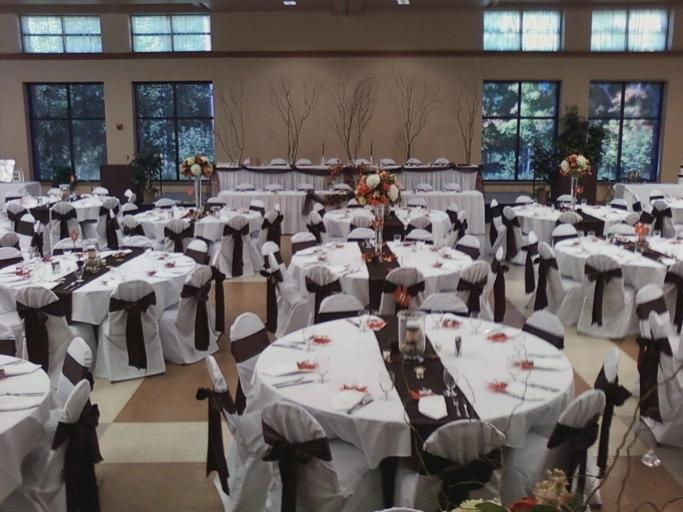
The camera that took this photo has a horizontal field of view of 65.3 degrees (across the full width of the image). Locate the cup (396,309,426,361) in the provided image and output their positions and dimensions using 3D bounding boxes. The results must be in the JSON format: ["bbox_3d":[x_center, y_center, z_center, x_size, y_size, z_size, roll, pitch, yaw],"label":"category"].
[{"bbox_3d":[0.535,0.594,4.167,0.275,0.409,0.300,-2,12,0],"label":"cup"}]

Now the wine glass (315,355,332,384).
[{"bbox_3d":[-0.133,0.821,3.889,0.108,0.217,0.133,-1,7,-8],"label":"wine glass"}]

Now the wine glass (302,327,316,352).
[{"bbox_3d":[-0.274,0.677,4.333,0.101,0.247,0.113,0,4,-3],"label":"wine glass"}]

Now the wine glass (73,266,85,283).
[{"bbox_3d":[-2.932,0.214,5.945,0.106,0.143,0.121,3,20,-2],"label":"wine glass"}]

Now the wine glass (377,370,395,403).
[{"bbox_3d":[0.295,0.884,3.608,0.132,0.237,0.155,-2,10,-2],"label":"wine glass"}]
